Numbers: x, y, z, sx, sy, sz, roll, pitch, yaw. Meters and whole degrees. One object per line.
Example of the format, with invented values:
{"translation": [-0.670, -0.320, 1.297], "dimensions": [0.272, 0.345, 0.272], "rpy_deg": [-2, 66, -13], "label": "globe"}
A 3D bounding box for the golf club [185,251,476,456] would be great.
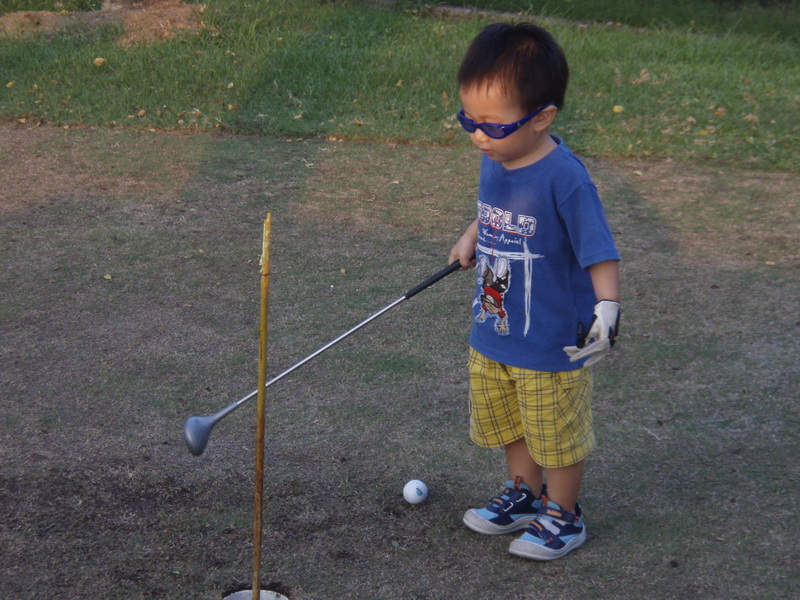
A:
{"translation": [-0.391, 0.338, 5.455], "dimensions": [1.951, 0.262, 0.276], "rpy_deg": [-28, -3, 7], "label": "golf club"}

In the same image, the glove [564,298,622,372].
{"translation": [0.825, 0.176, 4.147], "dimensions": [0.249, 0.363, 0.162], "rpy_deg": [-7, 36, 7], "label": "glove"}

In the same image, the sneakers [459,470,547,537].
{"translation": [0.485, 0.948, 4.615], "dimensions": [0.507, 0.215, 0.175], "rpy_deg": [-9, 35, -15], "label": "sneakers"}

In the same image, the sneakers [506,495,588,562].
{"translation": [0.703, 1.029, 4.523], "dimensions": [0.424, 0.242, 0.187], "rpy_deg": [-16, 29, -24], "label": "sneakers"}

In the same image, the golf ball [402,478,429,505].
{"translation": [0.065, 0.930, 4.748], "dimensions": [0.128, 0.082, 0.143], "rpy_deg": [4, 37, 21], "label": "golf ball"}
